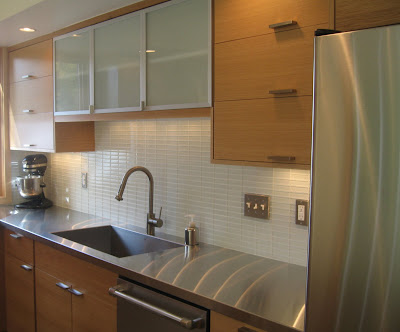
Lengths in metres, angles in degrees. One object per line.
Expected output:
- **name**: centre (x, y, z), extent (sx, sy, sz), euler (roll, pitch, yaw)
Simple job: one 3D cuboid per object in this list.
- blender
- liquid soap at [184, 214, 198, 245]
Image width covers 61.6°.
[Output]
- **blender**: centre (-1.532, 0.123, 3.118), extent (0.283, 0.461, 0.314), euler (0, 3, 19)
- **liquid soap**: centre (-0.053, 0.384, 2.083), extent (0.081, 0.171, 0.176), euler (0, 5, -3)
